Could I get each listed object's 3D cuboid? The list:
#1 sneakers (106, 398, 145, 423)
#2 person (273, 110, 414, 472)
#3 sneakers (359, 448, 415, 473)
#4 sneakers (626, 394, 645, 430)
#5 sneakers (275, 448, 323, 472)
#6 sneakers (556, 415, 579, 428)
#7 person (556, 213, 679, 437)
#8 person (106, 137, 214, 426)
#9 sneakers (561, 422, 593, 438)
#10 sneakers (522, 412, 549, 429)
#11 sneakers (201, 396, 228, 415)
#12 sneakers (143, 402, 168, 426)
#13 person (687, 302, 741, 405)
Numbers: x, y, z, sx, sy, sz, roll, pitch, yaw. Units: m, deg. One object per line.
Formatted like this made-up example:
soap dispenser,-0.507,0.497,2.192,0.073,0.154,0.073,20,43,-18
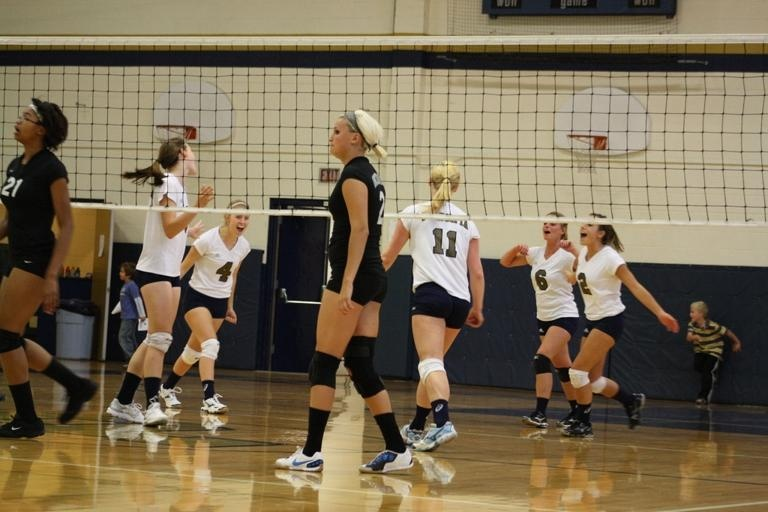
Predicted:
sneakers,-2.638,1.596,7.932,0.472,0.229,0.186,16,-7,-9
person,-0.252,0.316,6.481,0.861,3.143,0.773,5,5,30
sneakers,0.048,1.753,6.563,0.498,0.210,0.181,1,-10,-10
sneakers,2.880,1.742,8.789,0.205,0.490,0.166,-3,19,-1
sneakers,-0.755,1.737,6.530,0.447,0.211,0.164,4,-6,5
sneakers,2.147,1.910,8.852,0.276,0.124,0.100,4,-8,-30
person,2.529,0.812,8.543,0.885,2.490,0.672,3,4,13
person,-2.307,0.250,7.836,0.860,2.957,0.782,1,4,-18
sneakers,2.186,1.949,8.559,0.342,0.150,0.147,4,-11,-8
sneakers,1.822,1.958,9.123,0.325,0.154,0.131,15,-13,-11
sneakers,-1.984,1.715,8.773,0.355,0.199,0.163,-3,-6,27
sneakers,-2.343,1.617,7.855,0.232,0.234,0.240,1,5,-17
person,5.244,1.544,12.257,0.799,1.623,0.410,1,5,-19
